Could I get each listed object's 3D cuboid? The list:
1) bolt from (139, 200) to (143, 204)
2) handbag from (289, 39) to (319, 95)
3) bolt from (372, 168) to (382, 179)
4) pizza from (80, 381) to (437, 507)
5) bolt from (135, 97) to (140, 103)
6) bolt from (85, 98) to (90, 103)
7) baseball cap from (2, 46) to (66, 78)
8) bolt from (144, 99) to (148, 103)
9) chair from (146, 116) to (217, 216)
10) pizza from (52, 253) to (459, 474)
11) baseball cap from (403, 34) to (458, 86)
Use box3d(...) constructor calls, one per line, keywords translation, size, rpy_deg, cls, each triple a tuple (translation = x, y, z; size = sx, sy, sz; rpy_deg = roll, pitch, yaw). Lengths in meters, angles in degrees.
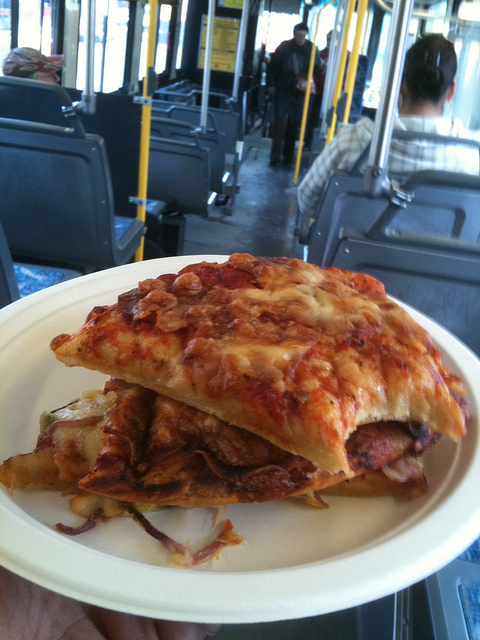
box3d(translation=(-0.563, -0.664, 2.967), size=(0.017, 0.017, 0.009), rpy_deg=(8, 25, -5), cls="bolt")
box3d(translation=(1.077, -4.202, 8.778), size=(0.579, 0.764, 0.611), rpy_deg=(16, 25, 13), cls="handbag")
box3d(translation=(0.267, -0.286, 1.022), size=(0.017, 0.019, 0.012), rpy_deg=(15, 25, 10), cls="bolt")
box3d(translation=(-0.010, 0.116, 0.590), size=(0.234, 0.073, 0.248), rpy_deg=(2, 12, -1), cls="pizza")
box3d(translation=(-0.538, -1.144, 2.731), size=(0.019, 0.023, 0.086), rpy_deg=(2, 24, -17), cls="bolt")
box3d(translation=(-0.557, -0.799, 1.909), size=(0.016, 0.015, 0.004), rpy_deg=(0, 9, -2), cls="bolt")
box3d(translation=(-1.154, -1.465, 3.049), size=(0.403, 0.197, 0.177), rpy_deg=(-17, 45, -32), cls="baseball cap")
box3d(translation=(-0.484, -1.123, 2.690), size=(0.017, 0.017, 0.007), rpy_deg=(7, 25, -7), cls="bolt")
box3d(translation=(-0.505, -1.252, 4.284), size=(0.617, 0.667, 0.506), rpy_deg=(10, 24, 1), cls="chair")
box3d(translation=(0.010, 0.060, 0.557), size=(0.317, 0.083, 0.259), rpy_deg=(27, 32, 21), cls="pizza")
box3d(translation=(0.915, -1.237, 2.495), size=(0.249, 0.211, 0.173), rpy_deg=(16, 25, 13), cls="baseball cap")
